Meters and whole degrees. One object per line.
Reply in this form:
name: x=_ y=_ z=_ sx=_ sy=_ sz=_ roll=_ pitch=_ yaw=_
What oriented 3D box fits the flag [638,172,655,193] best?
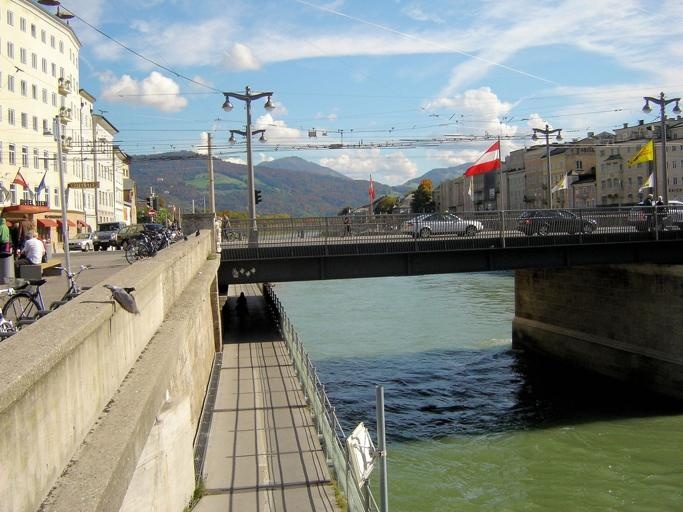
flag: x=27.359 y=-6.615 z=57.035 sx=0.791 sy=1.705 sz=7.801 roll=-22 pitch=2 yaw=29

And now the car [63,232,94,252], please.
car: x=-17.659 y=-0.905 z=43.019 sx=1.396 sy=1.083 sz=3.013 roll=-3 pitch=4 yaw=-16

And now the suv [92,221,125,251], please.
suv: x=-16.580 y=-1.446 z=44.964 sx=1.800 sy=1.869 sz=3.768 roll=-1 pitch=-4 yaw=-1

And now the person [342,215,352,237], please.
person: x=0.213 y=-1.130 z=23.849 sx=0.346 sy=0.731 sz=0.135 roll=-3 pitch=4 yaw=-16

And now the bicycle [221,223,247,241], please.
bicycle: x=-4.115 y=-0.814 z=24.012 sx=0.638 sy=0.665 sz=0.251 roll=-12 pitch=-16 yaw=-2

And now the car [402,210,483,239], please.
car: x=3.895 y=-1.189 z=25.086 sx=2.916 sy=0.969 sz=1.238 roll=-2 pitch=2 yaw=-8

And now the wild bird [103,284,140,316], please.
wild bird: x=-2.231 y=0.436 z=6.426 sx=0.263 sy=0.298 sz=0.548 roll=-3 pitch=4 yaw=-21
